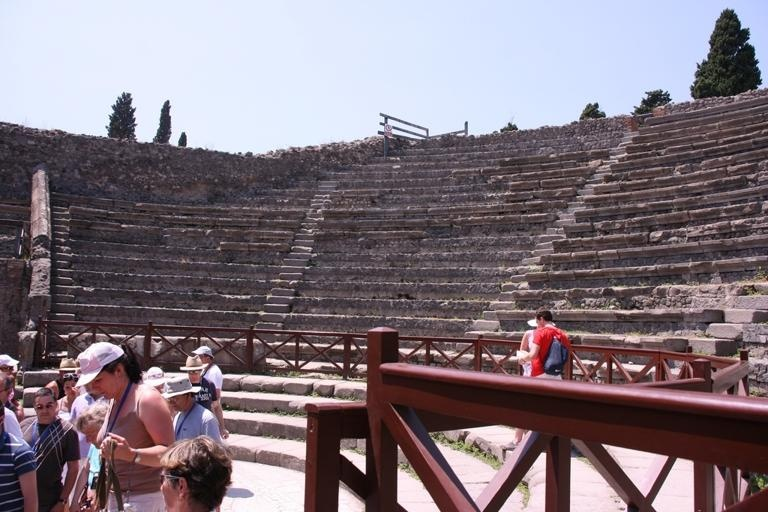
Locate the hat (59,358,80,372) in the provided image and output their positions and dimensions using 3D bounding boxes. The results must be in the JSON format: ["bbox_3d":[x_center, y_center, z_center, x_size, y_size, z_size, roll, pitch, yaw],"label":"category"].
[{"bbox_3d":[-4.232,1.478,8.643,0.300,0.108,0.322,1,-10,-15],"label":"hat"}]

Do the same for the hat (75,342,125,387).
[{"bbox_3d":[-2.708,1.028,6.154,0.388,0.410,0.235,6,-6,-22],"label":"hat"}]

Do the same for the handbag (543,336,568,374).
[{"bbox_3d":[2.246,1.301,8.526,0.276,0.473,0.416,-3,-22,42],"label":"handbag"}]

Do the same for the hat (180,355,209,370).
[{"bbox_3d":[-2.624,1.488,8.966,0.268,0.108,0.296,-1,-11,-5],"label":"hat"}]

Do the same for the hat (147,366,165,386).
[{"bbox_3d":[-2.515,1.336,7.099,0.203,0.099,0.202,-7,12,-44],"label":"hat"}]

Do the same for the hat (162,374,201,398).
[{"bbox_3d":[-2.342,1.477,7.293,0.297,0.102,0.274,-4,8,30],"label":"hat"}]
